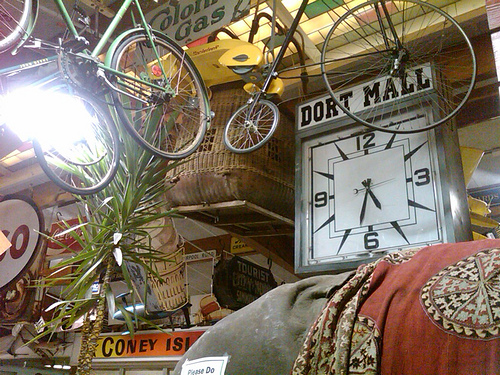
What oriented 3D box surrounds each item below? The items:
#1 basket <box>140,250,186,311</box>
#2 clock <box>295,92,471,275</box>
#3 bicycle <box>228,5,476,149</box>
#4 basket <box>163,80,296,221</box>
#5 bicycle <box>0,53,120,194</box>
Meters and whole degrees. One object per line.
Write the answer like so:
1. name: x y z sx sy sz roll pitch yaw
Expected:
1. basket: -0.714 0.740 4.147 0.416 0.618 0.475 -2 -8 -26
2. clock: 0.623 -0.052 2.697 0.801 0.881 0.403 -12 23 1
3. bicycle: 0.630 -0.674 3.018 1.287 0.894 0.689 -10 -24 32
4. basket: -0.135 -0.163 3.490 0.793 0.807 0.988 -7 -11 24
5. bicycle: -0.901 -0.232 2.542 0.419 0.593 0.592 9 -23 -35
